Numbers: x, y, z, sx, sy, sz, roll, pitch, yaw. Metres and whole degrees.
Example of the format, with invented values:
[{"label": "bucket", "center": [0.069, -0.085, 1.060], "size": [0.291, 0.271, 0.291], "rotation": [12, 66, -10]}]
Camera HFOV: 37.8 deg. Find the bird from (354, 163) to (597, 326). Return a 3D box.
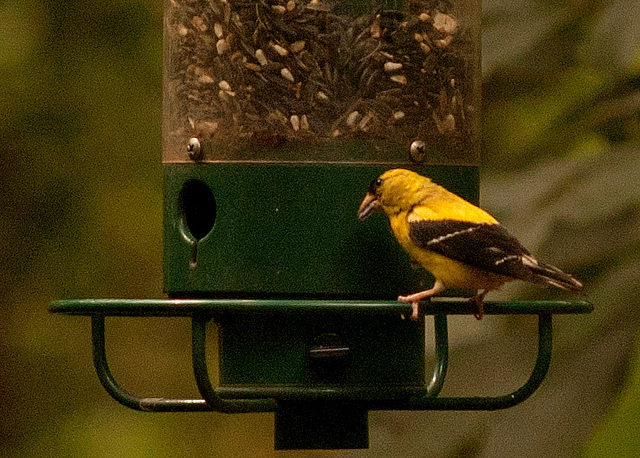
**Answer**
[{"label": "bird", "center": [0.559, 0.046, 3.554], "size": [0.885, 0.330, 0.567], "rotation": [-1, 86, 30]}]
